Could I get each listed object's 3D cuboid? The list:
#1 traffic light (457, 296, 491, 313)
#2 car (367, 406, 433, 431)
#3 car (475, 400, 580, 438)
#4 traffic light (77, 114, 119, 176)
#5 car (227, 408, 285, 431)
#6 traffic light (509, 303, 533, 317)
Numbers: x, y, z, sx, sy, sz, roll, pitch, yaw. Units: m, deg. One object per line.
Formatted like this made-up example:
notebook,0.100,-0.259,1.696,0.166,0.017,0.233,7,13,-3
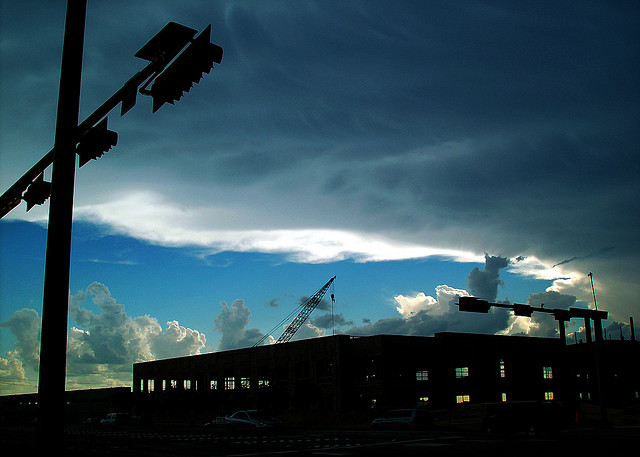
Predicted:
traffic light,10.544,5.388,47.605,2.337,0.893,0.801,8,-18,-30
car,6.563,15.424,54.989,4.890,1.532,1.727,-12,-18,35
car,13.270,12.248,43.563,6.074,1.985,2.311,-9,-9,24
traffic light,-7.438,-2.860,22.647,1.225,1.438,0.544,-8,-17,24
car,-5.084,14.940,52.961,1.523,1.458,5.101,12,-19,-39
traffic light,14.664,6.100,49.858,1.223,1.042,2.572,-5,-15,16
